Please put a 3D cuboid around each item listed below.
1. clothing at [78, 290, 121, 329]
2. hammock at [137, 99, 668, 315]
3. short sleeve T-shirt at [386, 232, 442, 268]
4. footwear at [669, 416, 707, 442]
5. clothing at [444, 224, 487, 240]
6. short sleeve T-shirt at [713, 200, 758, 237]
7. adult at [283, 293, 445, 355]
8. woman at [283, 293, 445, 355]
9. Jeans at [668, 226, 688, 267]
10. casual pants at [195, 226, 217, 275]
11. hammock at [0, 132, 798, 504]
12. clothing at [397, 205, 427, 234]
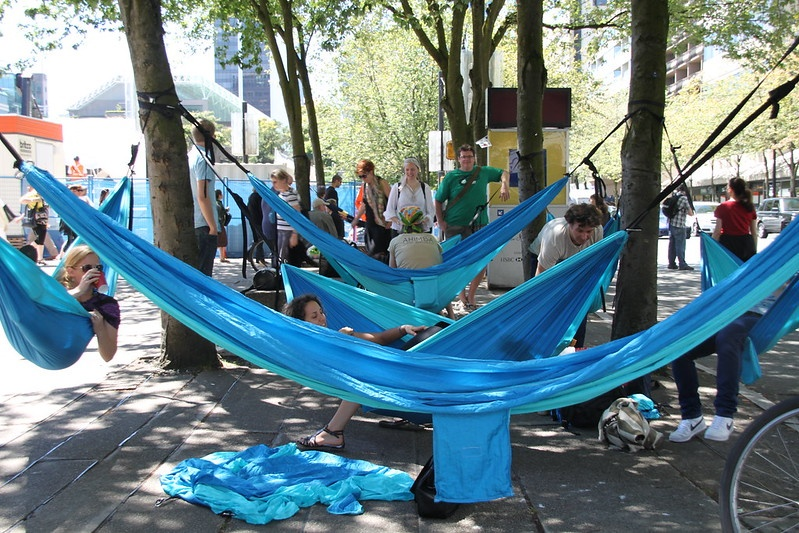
[{"bbox_3d":[-2.524,0.323,5.919,0.276,0.304,0.328,25,-9,-3],"label":"clothing"},{"bbox_3d":[0.707,-0.324,8.822,6.714,2.215,1.483,6,-6,-12],"label":"hammock"},{"bbox_3d":[0.192,-0.149,8.610,0.809,0.659,0.400,1,-1,-1],"label":"short sleeve T-shirt"},{"bbox_3d":[2.459,1.397,6.104,0.415,0.149,0.141,-18,1,-18],"label":"footwear"},{"bbox_3d":[0.932,-0.503,10.629,0.452,0.216,0.250,-3,-1,3],"label":"clothing"},{"bbox_3d":[4.770,-0.674,10.228,0.608,0.458,0.313,2,1,2],"label":"short sleeve T-shirt"},{"bbox_3d":[-0.368,0.471,6.993,1.557,0.499,2.222,-1,3,8],"label":"adult"},{"bbox_3d":[-0.366,0.514,6.247,1.018,0.241,0.616,8,-17,3],"label":"woman"},{"bbox_3d":[6.472,-0.500,16.588,0.405,1.143,0.594,1,-3,-4],"label":"Jeans"},{"bbox_3d":[-2.395,-0.231,8.611,0.244,0.640,0.170,-5,-1,21],"label":"casual pants"},{"bbox_3d":[-0.275,0.223,6.475,9.002,2.894,2.197,-2,9,4],"label":"hammock"},{"bbox_3d":[0.144,-0.569,8.730,0.353,0.328,0.351,-4,-7,-2],"label":"clothing"}]
